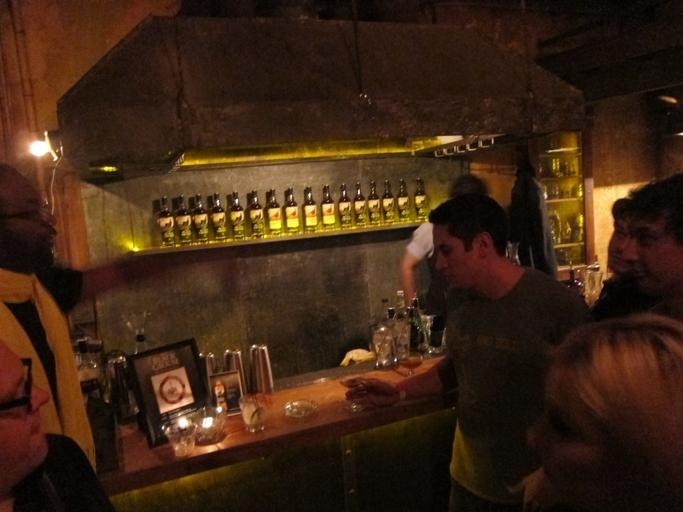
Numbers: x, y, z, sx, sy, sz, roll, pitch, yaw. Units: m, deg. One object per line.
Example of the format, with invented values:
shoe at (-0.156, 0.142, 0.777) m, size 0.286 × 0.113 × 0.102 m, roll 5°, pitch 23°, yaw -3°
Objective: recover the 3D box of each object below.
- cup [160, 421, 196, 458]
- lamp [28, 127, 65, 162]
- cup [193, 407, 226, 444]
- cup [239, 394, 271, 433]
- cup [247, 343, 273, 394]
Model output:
cup at (-0.672, 0.766, 2.506) m, size 0.133 × 0.117 × 0.141 m, roll -1°, pitch -9°, yaw 0°
lamp at (-1.748, -0.675, 3.557) m, size 0.181 × 0.138 × 0.309 m, roll 2°, pitch -28°, yaw -21°
cup at (-0.570, 0.737, 2.607) m, size 0.158 × 0.159 × 0.107 m, roll -7°, pitch -1°, yaw -29°
cup at (-0.385, 0.694, 2.637) m, size 0.147 × 0.156 × 0.148 m, roll 0°, pitch -3°, yaw 0°
cup at (-0.411, 0.569, 2.989) m, size 0.113 × 0.244 × 0.386 m, roll -8°, pitch -1°, yaw -11°
